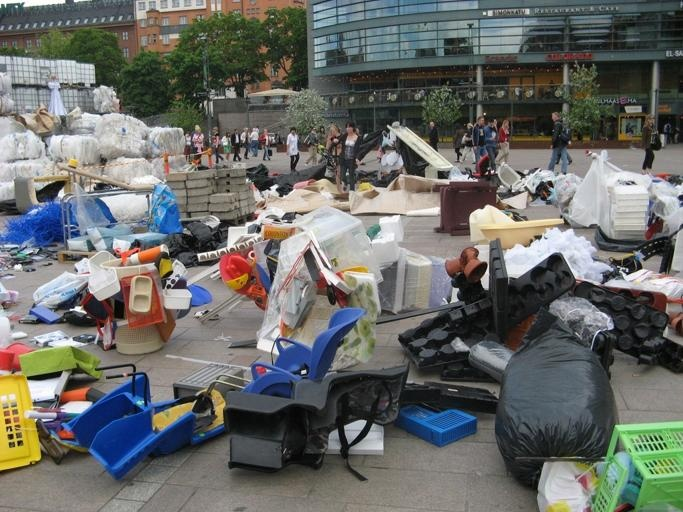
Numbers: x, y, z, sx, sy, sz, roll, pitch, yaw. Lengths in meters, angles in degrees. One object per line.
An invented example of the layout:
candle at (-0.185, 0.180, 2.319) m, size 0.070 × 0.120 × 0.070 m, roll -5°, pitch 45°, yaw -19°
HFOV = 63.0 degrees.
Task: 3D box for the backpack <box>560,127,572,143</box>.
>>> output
backpack at (7.466, -4.002, 18.522) m, size 0.213 × 0.544 × 0.614 m, roll 7°, pitch 18°, yaw 30°
